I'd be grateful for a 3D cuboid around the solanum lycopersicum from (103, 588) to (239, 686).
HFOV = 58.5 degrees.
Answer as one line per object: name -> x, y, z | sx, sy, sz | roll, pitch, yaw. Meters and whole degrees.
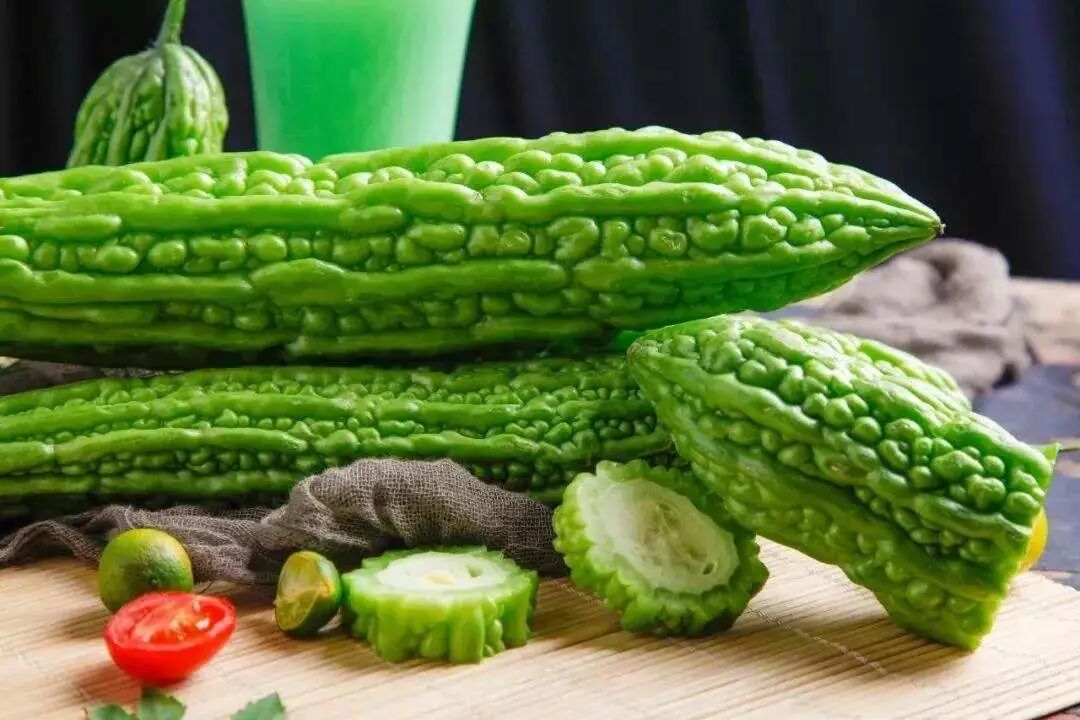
solanum lycopersicum -> -0.356, 0.269, 0.930 | 0.109, 0.054, 0.092 | 7, 21, 16
